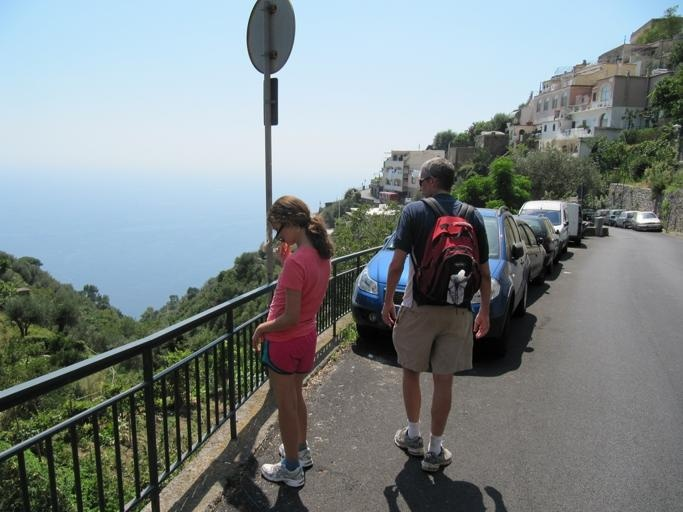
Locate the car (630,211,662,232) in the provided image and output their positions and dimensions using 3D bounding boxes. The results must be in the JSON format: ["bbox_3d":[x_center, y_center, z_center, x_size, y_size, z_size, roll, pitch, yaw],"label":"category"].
[{"bbox_3d":[22.366,-2.538,36.237,1.427,1.304,2.211,2,10,0],"label":"car"}]

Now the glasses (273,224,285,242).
[{"bbox_3d":[-0.476,-0.170,3.754,0.035,0.143,0.125,6,4,-1],"label":"glasses"}]

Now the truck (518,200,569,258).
[{"bbox_3d":[7.544,-0.986,17.881,1.558,1.727,2.927,1,10,18],"label":"truck"}]

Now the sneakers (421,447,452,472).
[{"bbox_3d":[0.785,1.688,4.052,0.118,0.148,0.306,-1,1,37],"label":"sneakers"}]

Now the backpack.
[{"bbox_3d":[0.811,-0.028,3.910,0.482,0.819,0.297,3,9,10],"label":"backpack"}]

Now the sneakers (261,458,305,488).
[{"bbox_3d":[-0.448,1.699,3.939,0.357,0.194,0.155,11,6,8],"label":"sneakers"}]

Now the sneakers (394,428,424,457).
[{"bbox_3d":[0.595,1.627,4.305,0.122,0.154,0.301,2,6,-20],"label":"sneakers"}]

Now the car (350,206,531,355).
[{"bbox_3d":[1.757,0.316,7.306,1.496,1.709,3.089,0,0,31],"label":"car"}]

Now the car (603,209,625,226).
[{"bbox_3d":[23.929,-3.389,43.239,0.909,0.857,2.222,-2,10,12],"label":"car"}]

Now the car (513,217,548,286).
[{"bbox_3d":[4.052,-0.088,10.351,0.908,1.046,1.776,0,15,19],"label":"car"}]

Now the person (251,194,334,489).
[{"bbox_3d":[-0.372,0.664,3.811,0.397,2.246,0.572,10,13,44],"label":"person"}]
